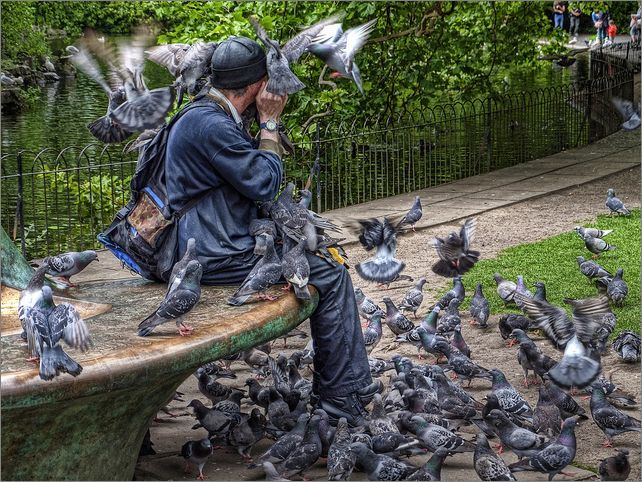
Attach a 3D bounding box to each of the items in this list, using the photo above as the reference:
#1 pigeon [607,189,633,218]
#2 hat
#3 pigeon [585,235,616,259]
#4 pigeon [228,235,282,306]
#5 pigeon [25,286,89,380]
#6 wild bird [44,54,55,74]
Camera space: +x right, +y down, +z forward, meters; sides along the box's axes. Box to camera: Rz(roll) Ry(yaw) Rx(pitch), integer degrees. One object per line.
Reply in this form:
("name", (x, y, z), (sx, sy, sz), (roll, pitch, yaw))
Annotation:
("pigeon", (3.989, -0.533, 14.833), (0.460, 0.428, 0.259), (6, 5, 39))
("hat", (-0.684, -1.471, 8.814), (0.428, 0.379, 0.563), (3, 27, 23))
("pigeon", (3.439, 0.051, 13.218), (0.429, 0.289, 0.322), (-7, 11, -28))
("pigeon", (-0.539, 0.234, 8.406), (0.481, 0.453, 0.211), (-17, 26, -30))
("pigeon", (-1.786, 0.608, 7.314), (0.402, 0.600, 0.294), (-6, 10, -21))
("wild bird", (-10.951, -7.046, 43.236), (0.391, 0.679, 1.161), (-4, 10, -13))
